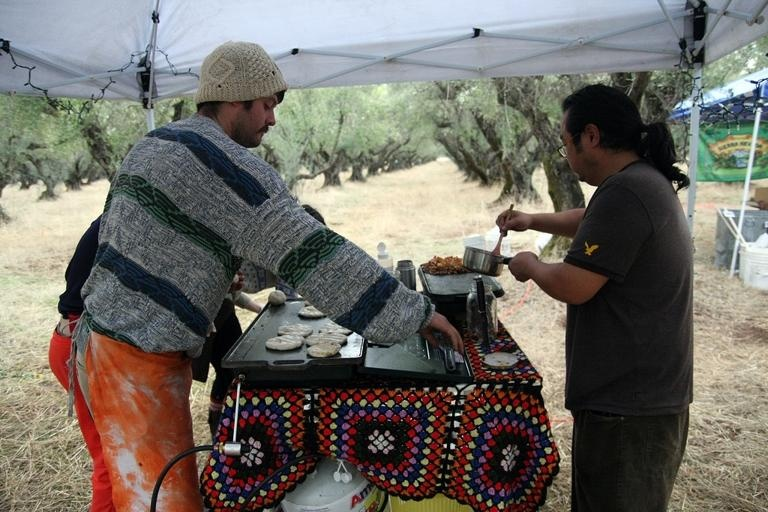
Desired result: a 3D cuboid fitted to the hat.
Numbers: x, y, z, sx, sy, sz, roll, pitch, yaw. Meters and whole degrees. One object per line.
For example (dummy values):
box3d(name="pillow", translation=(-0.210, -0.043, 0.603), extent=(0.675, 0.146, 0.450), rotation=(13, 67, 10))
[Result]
box3d(name="hat", translation=(-0.718, -0.879, 2.538), extent=(0.419, 0.307, 0.217), rotation=(-5, 9, -14))

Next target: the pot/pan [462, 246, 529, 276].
box3d(name="pot/pan", translation=(0.617, 0.016, 3.003), extent=(0.307, 0.157, 0.239), rotation=(2, 2, 0))

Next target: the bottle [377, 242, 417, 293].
box3d(name="bottle", translation=(0.146, 0.078, 3.829), extent=(0.273, 0.400, 0.420), rotation=(-7, 8, -37))

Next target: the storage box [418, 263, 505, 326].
box3d(name="storage box", translation=(0.382, 0.228, 3.356), extent=(0.307, 0.129, 0.448), rotation=(0, 11, -10))

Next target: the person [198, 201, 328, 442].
box3d(name="person", translation=(-0.988, 0.457, 3.624), extent=(0.969, 1.715, 1.064), rotation=(2, 8, -4))
